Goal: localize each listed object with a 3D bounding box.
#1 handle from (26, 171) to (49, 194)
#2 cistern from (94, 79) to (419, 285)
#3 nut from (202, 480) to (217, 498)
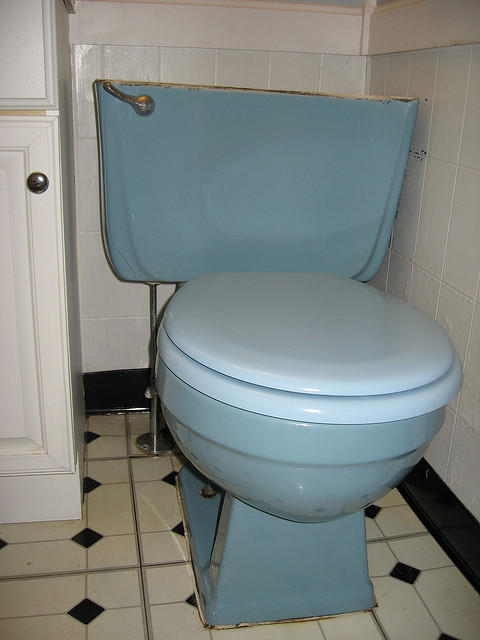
[{"bbox_3d":[-0.277,-0.187,0.742,0.029,0.029,0.009,-5,22,-22],"label":"handle"},{"bbox_3d":[0.006,-0.259,0.979,0.496,0.357,0.337,-3,28,-16],"label":"cistern"},{"bbox_3d":[-0.053,0.295,0.939,0.025,0.011,0.037,-4,22,-20],"label":"nut"}]
